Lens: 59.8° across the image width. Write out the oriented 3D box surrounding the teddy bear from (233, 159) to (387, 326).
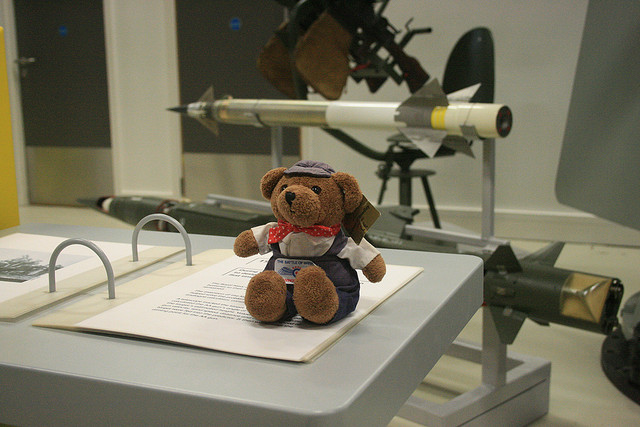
[{"bbox_3d":[-0.039,0.055,1.106,0.316,0.321,0.206,3,4,24],"label":"teddy bear"}]
